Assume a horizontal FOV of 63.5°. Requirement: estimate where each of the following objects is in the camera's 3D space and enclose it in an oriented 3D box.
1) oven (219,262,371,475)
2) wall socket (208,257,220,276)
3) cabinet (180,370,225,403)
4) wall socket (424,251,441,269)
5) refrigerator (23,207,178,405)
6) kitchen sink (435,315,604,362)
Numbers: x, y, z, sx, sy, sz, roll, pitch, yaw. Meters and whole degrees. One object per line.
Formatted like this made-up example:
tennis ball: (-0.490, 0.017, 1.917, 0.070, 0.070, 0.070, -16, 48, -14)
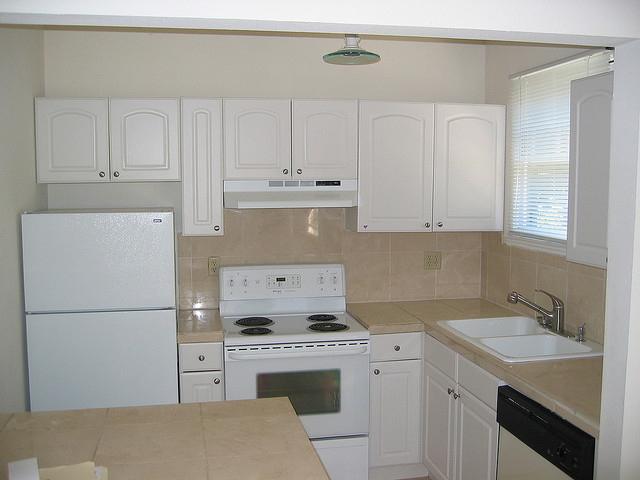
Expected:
oven: (-0.180, 0.811, 3.414, 0.916, 1.231, 0.762, -3, 11, -11)
wall socket: (-0.739, 0.179, 3.579, 0.082, 0.127, 0.022, -3, 11, -13)
cabinet: (-0.713, 0.842, 3.155, 0.233, 0.297, 0.215, 0, 0, -18)
wall socket: (0.835, 0.140, 3.861, 0.146, 0.131, 0.013, -1, 5, -11)
refrigerator: (-1.270, 0.539, 3.220, 0.887, 1.402, 0.553, -1, 1, 1)
kitchen sink: (1.041, 0.545, 2.959, 0.676, 0.180, 0.748, -1, 8, -12)
